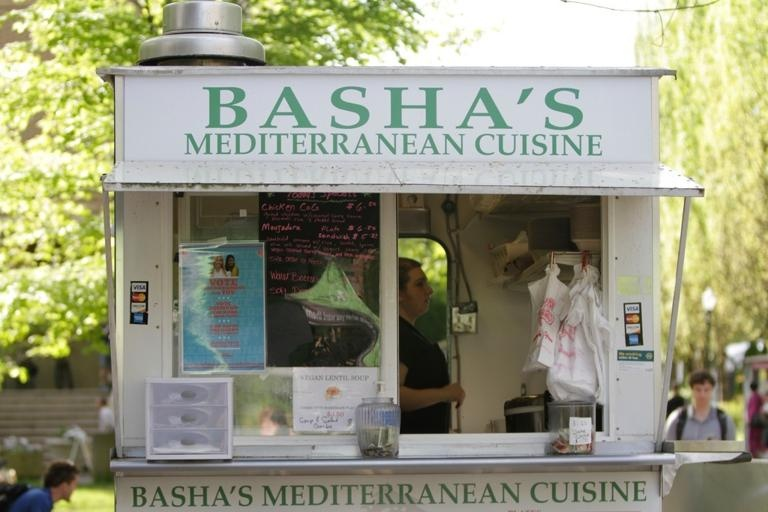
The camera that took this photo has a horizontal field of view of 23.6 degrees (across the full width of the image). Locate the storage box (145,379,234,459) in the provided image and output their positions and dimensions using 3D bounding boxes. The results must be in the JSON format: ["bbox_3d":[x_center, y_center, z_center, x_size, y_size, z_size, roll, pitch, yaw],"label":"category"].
[{"bbox_3d":[-2.070,1.681,19.382,0.814,0.861,0.647,0,-5,-6],"label":"storage box"}]

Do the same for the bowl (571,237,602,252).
[{"bbox_3d":[2.165,-0.125,19.577,0.292,0.144,0.082,-2,-4,11],"label":"bowl"}]

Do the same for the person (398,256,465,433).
[{"bbox_3d":[0.500,0.978,20.611,0.688,1.982,0.983,-2,-4,2],"label":"person"}]

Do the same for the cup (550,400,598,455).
[{"bbox_3d":[1.978,1.786,19.239,0.527,0.526,0.519,0,-5,0],"label":"cup"}]
